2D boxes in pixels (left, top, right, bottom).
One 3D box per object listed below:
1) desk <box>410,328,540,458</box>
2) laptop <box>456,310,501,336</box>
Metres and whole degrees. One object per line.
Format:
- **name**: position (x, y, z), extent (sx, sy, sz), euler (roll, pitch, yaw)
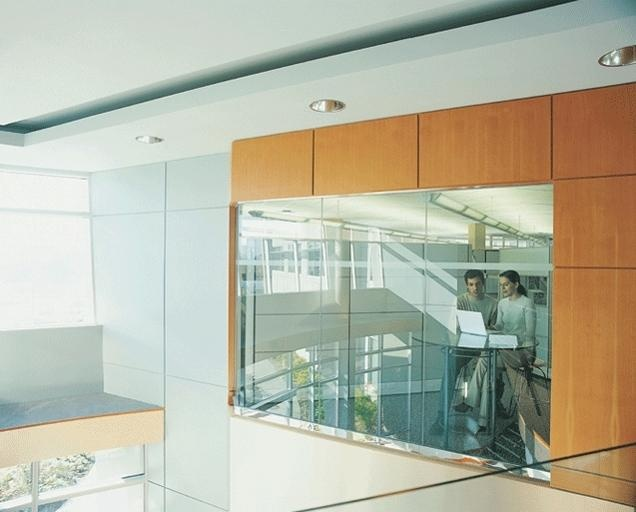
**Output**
- **desk**: position (1.329, 1.072, 4.767), extent (0.998, 0.849, 0.917), euler (1, 8, 19)
- **laptop**: position (1.241, 0.516, 4.438), extent (0.232, 0.138, 0.208), euler (13, -11, -38)
